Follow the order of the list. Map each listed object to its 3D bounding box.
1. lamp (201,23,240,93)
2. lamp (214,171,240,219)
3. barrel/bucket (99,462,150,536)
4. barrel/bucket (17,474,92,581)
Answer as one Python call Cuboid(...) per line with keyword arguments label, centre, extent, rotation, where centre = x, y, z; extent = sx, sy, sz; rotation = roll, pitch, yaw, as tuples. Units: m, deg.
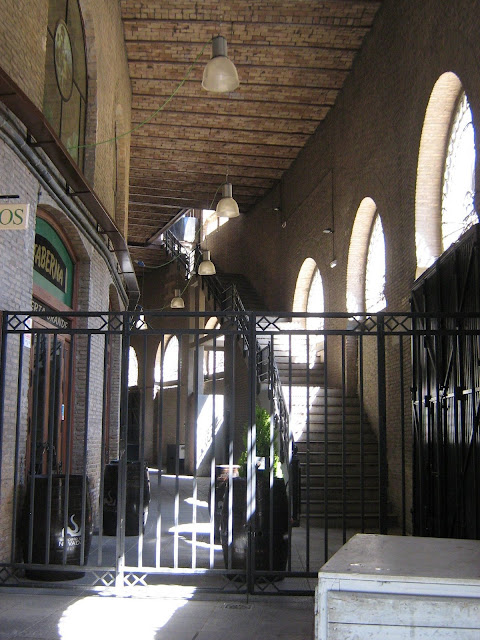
Cuboid(label="lamp", centre=(-0.223, -2.768, 7.177), extent=(0.338, 0.747, 0.413), rotation=(2, -13, -17))
Cuboid(label="lamp", centre=(-0.231, -2.051, 11.300), extent=(0.299, 0.724, 0.427), rotation=(-6, -16, 10))
Cuboid(label="barrel/bucket", centre=(-1.442, 2.225, 8.194), extent=(0.579, 0.988, 3.300), rotation=(0, -14, -8))
Cuboid(label="barrel/bucket", centre=(-1.623, 1.790, 5.663), extent=(0.606, 0.907, 1.024), rotation=(2, -12, -16))
